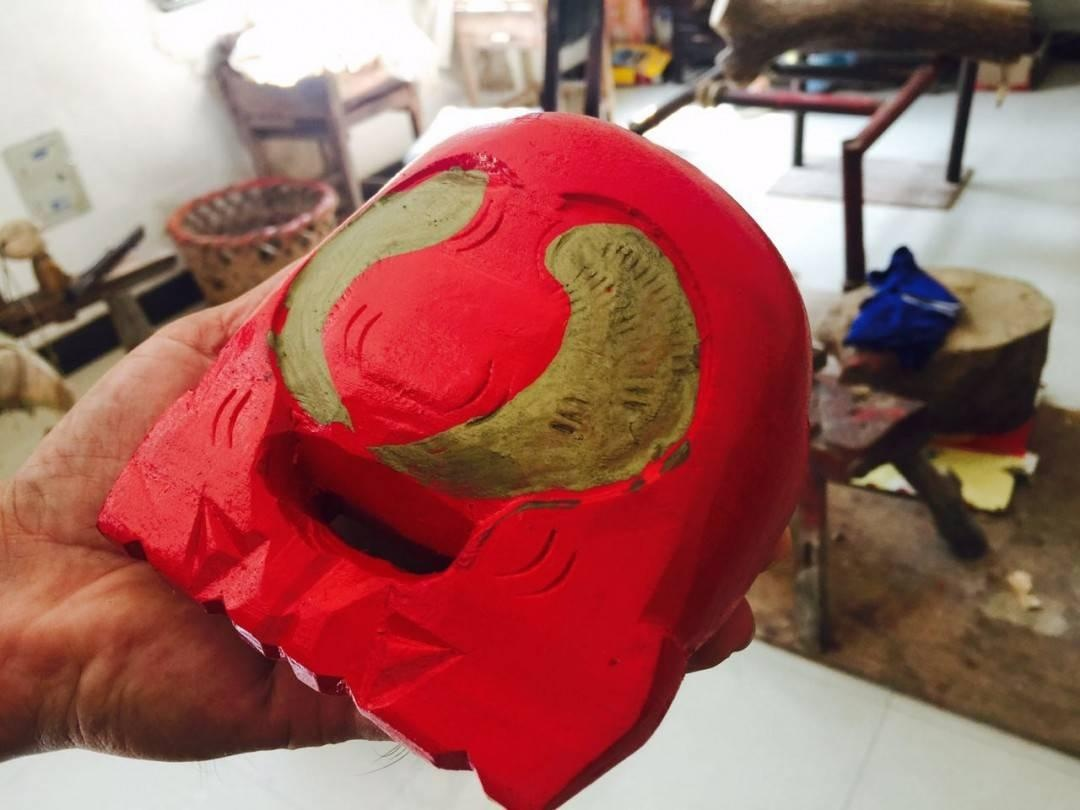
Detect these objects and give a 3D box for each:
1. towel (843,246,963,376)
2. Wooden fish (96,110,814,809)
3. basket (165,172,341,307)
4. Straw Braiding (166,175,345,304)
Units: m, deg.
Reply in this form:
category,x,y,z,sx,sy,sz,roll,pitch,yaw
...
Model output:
category,x,y,z,sx,sy,sz,roll,pitch,yaw
towel,0.572,-0.136,1.492,0.165,0.052,0.190,35,93,34
Wooden fish,-0.083,0.016,1.101,0.683,0.509,0.628,22,45,33
basket,-0.545,-0.357,1.877,0.279,0.188,0.305,12,43,19
Straw Braiding,-0.547,-0.362,1.870,0.280,0.188,0.304,12,43,22
